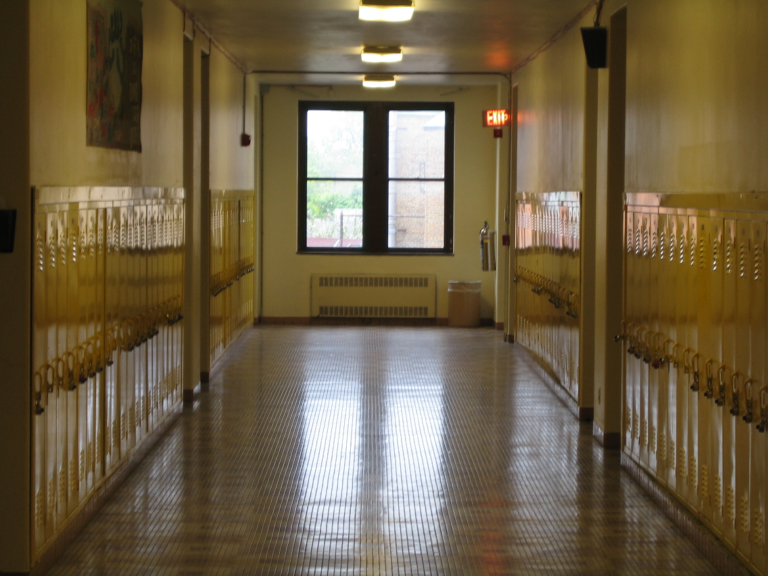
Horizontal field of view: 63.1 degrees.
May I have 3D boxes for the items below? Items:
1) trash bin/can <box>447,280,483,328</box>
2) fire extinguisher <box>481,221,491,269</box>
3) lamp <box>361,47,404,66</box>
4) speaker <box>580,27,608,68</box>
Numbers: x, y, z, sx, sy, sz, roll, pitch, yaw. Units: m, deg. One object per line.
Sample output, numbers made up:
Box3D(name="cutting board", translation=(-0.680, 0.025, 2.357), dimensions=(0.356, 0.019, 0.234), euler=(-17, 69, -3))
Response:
Box3D(name="trash bin/can", translation=(1.444, 0.292, 11.281), dimensions=(0.596, 1.013, 0.690), euler=(0, 1, 1))
Box3D(name="fire extinguisher", translation=(1.792, -0.705, 10.979), dimensions=(0.167, 0.763, 0.439), euler=(2, 8, 8))
Box3D(name="lamp", translation=(-0.024, -3.042, 8.100), dimensions=(0.485, 0.151, 0.372), euler=(0, 10, -9))
Box3D(name="speaker", translation=(1.856, -2.126, 5.495), dimensions=(0.225, 0.371, 0.142), euler=(-2, 8, -19))
